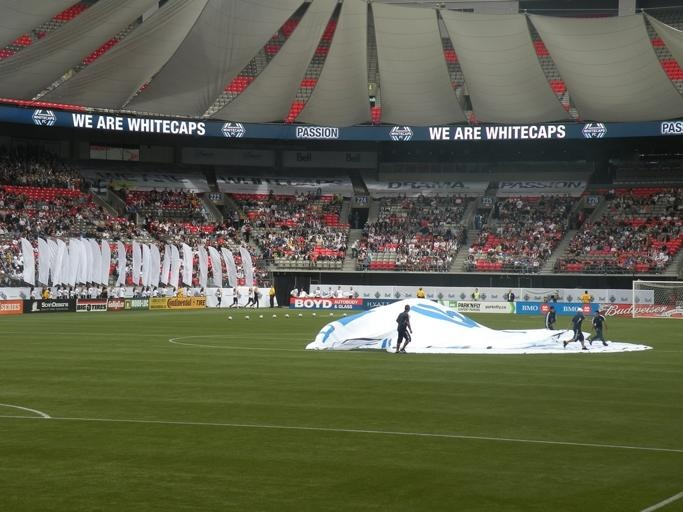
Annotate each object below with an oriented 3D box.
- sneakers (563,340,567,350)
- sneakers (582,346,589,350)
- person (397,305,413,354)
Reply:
[{"bbox_3d":[10.627,4.221,62.406,0.287,0.346,0.083,-1,19,10],"label":"sneakers"},{"bbox_3d":[11.572,4.344,62.237,0.335,0.098,0.650,4,12,7],"label":"sneakers"},{"bbox_3d":[2.911,3.301,61.503,0.716,2.182,1.246,4,15,2],"label":"person"}]
